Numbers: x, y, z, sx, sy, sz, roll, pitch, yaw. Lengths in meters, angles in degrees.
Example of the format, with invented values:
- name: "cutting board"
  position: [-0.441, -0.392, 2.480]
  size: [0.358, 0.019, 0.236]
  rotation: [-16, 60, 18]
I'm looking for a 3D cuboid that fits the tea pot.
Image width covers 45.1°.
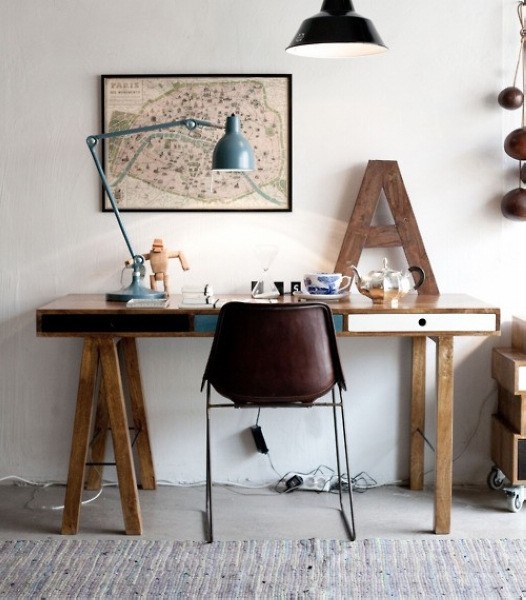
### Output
- name: "tea pot"
  position: [0.465, -0.061, 2.345]
  size: [0.250, 0.163, 0.206]
  rotation: [2, 9, 21]

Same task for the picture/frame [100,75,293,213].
- name: "picture/frame"
  position: [-0.268, -0.671, 2.624]
  size: [0.571, 0.457, 0.023]
  rotation: [0, 5, 1]

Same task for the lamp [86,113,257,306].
- name: "lamp"
  position: [-0.355, -0.356, 2.506]
  size: [0.599, 0.674, 0.645]
  rotation: [-6, 14, -15]

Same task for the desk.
- name: "desk"
  position: [-0.097, 0.328, 2.456]
  size: [1.300, 0.708, 0.491]
  rotation: [-2, 12, -1]

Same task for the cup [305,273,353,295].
- name: "cup"
  position: [0.258, -0.052, 2.443]
  size: [0.136, 0.066, 0.113]
  rotation: [2, -1, 8]
